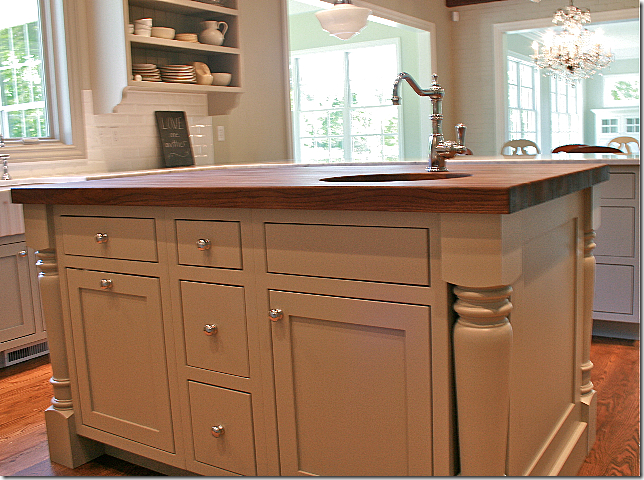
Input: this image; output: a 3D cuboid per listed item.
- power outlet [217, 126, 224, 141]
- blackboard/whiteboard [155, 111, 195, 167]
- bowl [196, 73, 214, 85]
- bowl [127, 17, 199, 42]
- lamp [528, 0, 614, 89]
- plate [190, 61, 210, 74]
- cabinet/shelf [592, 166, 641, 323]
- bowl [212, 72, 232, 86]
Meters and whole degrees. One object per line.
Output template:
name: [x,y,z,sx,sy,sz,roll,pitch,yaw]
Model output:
power outlet: [-0.942,-0.986,4.441,0.019,0.132,0.091,3,12,32]
blackboard/whiteboard: [-1.233,-0.850,4.028,0.119,0.471,0.312,3,12,30]
bowl: [-0.916,-1.262,3.754,0.105,0.056,0.098,2,14,-1]
bowl: [-1.162,-1.483,3.493,0.242,0.097,0.377,5,9,33]
lamp: [3.687,-2.958,7.033,1.039,1.178,2.414,2,11,29]
plate: [-0.955,-1.344,3.763,0.135,0.122,0.106,4,19,32]
cabinet/shelf: [1.818,0.031,2.918,0.241,0.956,0.103,1,12,25]
bowl: [-0.814,-1.298,3.907,0.142,0.071,0.139,-2,11,0]
